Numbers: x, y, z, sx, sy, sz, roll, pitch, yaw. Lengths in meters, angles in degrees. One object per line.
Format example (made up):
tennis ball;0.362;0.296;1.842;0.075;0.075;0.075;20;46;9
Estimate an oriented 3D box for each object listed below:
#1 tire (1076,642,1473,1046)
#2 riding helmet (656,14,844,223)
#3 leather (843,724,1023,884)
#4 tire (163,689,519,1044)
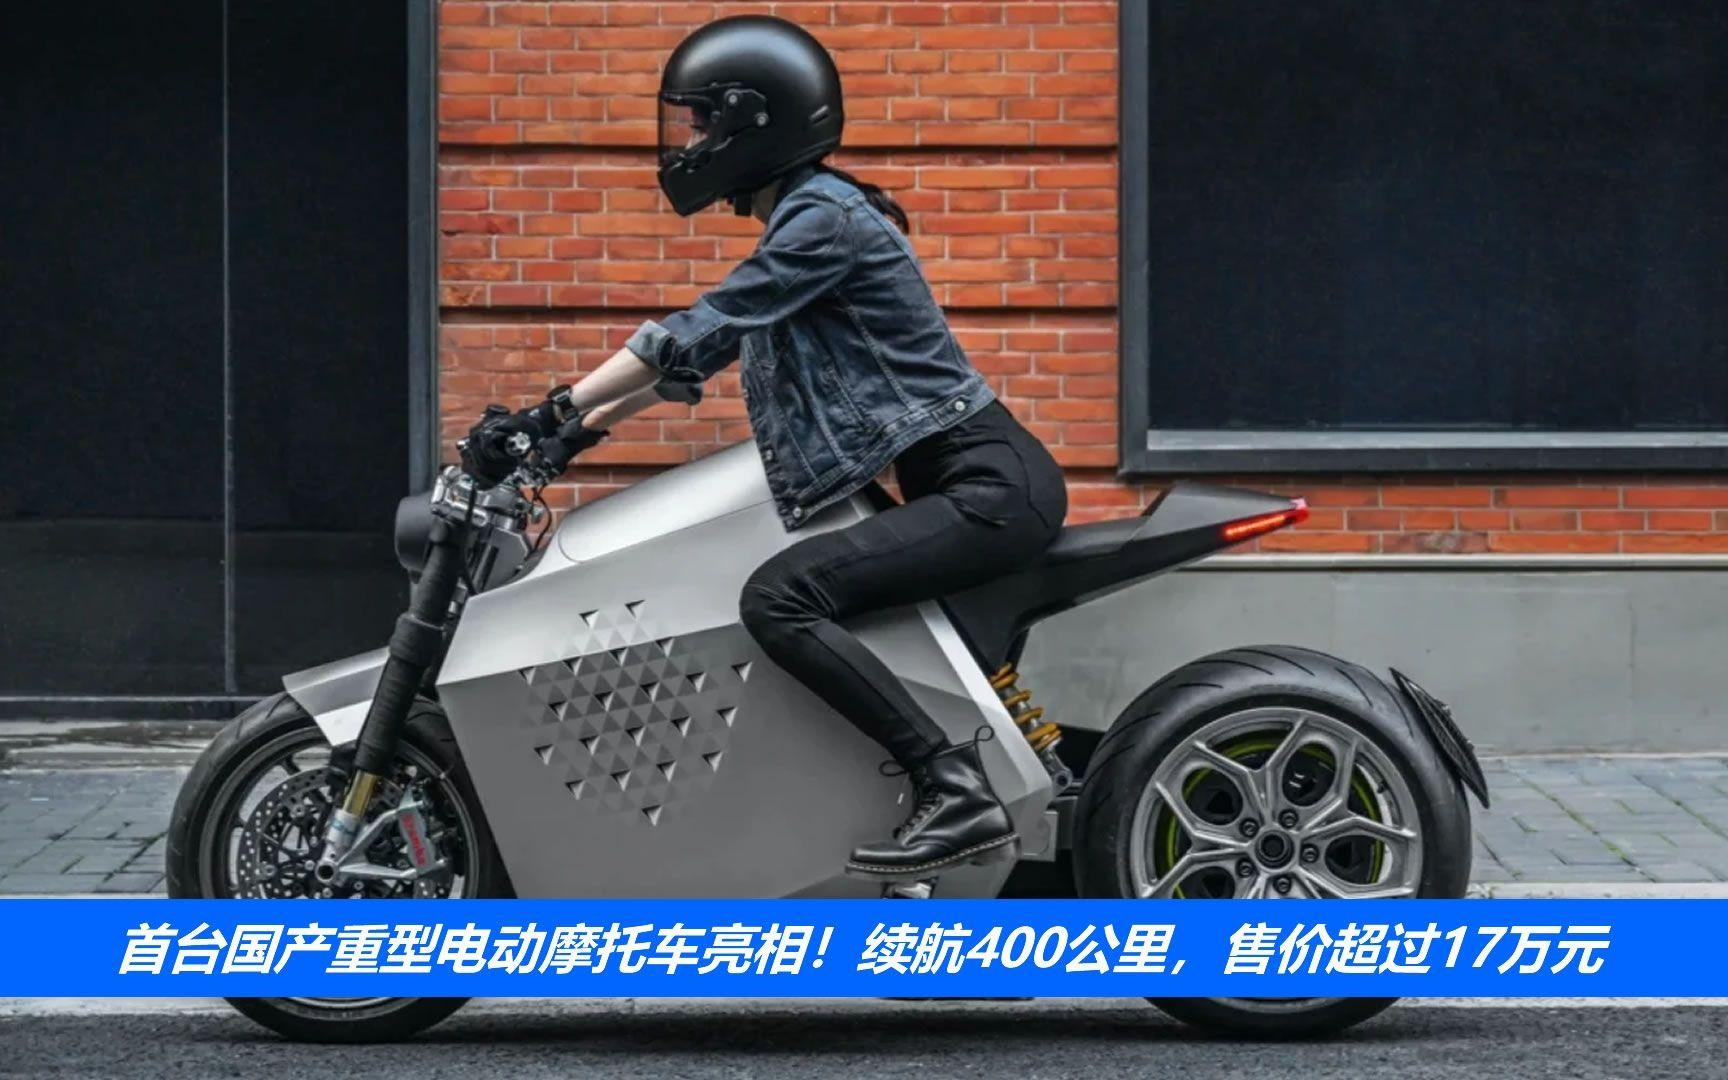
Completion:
tire;1.487;1.155;7.279;1.379;1.358;0.415;-3;-6;4
riding helmet;-0.344;-1.550;7.511;0.727;0.736;0.595;3;4;5
leather;0.208;0.969;7.127;0.639;0.443;0.237;-9;-6;-19
tire;-1.851;1.174;7.233;1.298;1.348;0.272;1;6;1
